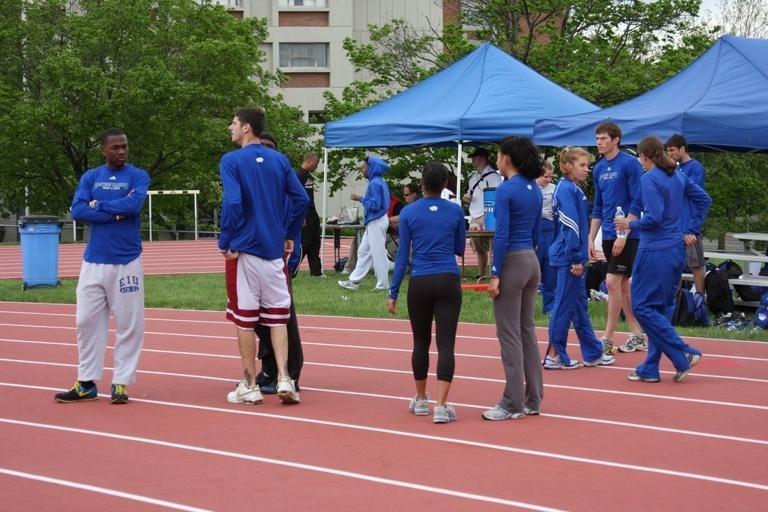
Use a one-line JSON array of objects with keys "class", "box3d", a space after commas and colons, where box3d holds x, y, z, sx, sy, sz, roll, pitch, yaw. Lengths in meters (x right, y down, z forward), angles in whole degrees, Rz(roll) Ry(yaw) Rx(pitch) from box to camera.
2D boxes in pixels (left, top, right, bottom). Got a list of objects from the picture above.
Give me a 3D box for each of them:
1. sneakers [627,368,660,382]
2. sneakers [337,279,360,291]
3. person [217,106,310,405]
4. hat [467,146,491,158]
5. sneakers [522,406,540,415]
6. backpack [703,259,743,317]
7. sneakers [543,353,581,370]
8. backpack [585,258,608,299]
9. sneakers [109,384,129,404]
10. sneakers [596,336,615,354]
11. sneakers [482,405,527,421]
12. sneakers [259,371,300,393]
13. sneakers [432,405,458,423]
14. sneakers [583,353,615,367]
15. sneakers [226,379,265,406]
[{"class": "sneakers", "box3d": [3.366, 1.519, 10.909, 0.378, 0.164, 0.148, 6, 3, 17]}, {"class": "sneakers", "box3d": [-0.698, 0.572, 16.897, 0.422, 0.180, 0.172, 10, 0, 0]}, {"class": "person", "box3d": [-1.445, -0.009, 9.999, 0.938, 3.423, 1.089, -1, 14, -5]}, {"class": "hat", "box3d": [1.981, -2.157, 17.431, 0.437, 0.238, 0.309, 9, 0, 7]}, {"class": "sneakers", "box3d": [1.711, 1.778, 9.745, 0.234, 0.100, 0.082, 4, -1, -7]}, {"class": "backpack", "box3d": [5.645, 0.456, 14.192, 0.613, 0.678, 0.421, -7, 13, -14]}, {"class": "sneakers", "box3d": [2.446, 1.424, 11.436, 0.522, 0.239, 0.186, -1, -1, -4]}, {"class": "backpack", "box3d": [3.889, 0.314, 15.625, 0.448, 0.623, 0.445, 8, 18, 8]}, {"class": "sneakers", "box3d": [-3.140, 1.608, 10.027, 0.206, 0.230, 0.246, -4, 14, -17]}, {"class": "sneakers", "box3d": [3.096, 1.244, 11.754, 0.311, 0.134, 0.121, 27, -9, -19]}, {"class": "sneakers", "box3d": [1.386, 1.796, 9.664, 0.468, 0.186, 0.175, 2, -2, -4]}, {"class": "sneakers", "box3d": [-1.342, 1.572, 10.454, 0.583, 0.235, 0.207, 6, 1, -1]}, {"class": "sneakers", "box3d": [0.707, 1.777, 9.515, 0.139, 0.135, 0.306, 1, 4, 22]}, {"class": "sneakers", "box3d": [2.958, 1.406, 11.502, 0.435, 0.200, 0.163, -3, 1, -2]}, {"class": "sneakers", "box3d": [-1.628, 1.624, 10.010, 0.504, 0.223, 0.211, 1, 2, 38]}]
